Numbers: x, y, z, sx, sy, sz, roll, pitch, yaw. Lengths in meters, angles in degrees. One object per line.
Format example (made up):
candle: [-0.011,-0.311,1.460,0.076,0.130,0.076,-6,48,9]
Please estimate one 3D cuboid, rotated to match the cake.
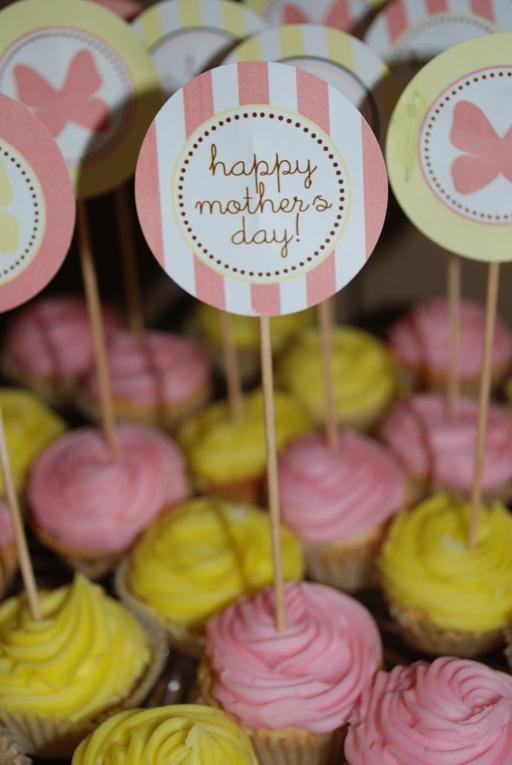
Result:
cake: [0.054,0.179,1.277,0.485,0.216,0.600,1,32,3]
